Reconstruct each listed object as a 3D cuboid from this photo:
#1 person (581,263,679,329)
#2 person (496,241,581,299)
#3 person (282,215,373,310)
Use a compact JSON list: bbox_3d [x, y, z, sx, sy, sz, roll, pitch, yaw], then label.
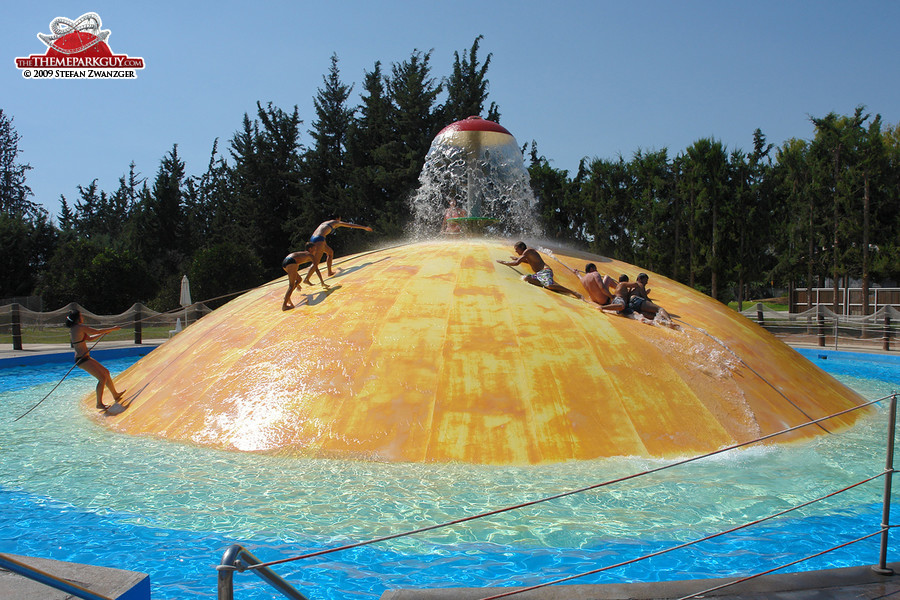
[{"bbox_3d":[2.993,0.131,9.722,1.422,0.939,0.578,0,2,0],"label":"person"},{"bbox_3d":[1.518,-0.361,10.101,1.605,0.932,0.679,25,32,33],"label":"person"},{"bbox_3d":[-2.673,-0.606,10.833,0.934,1.835,2.146,0,1,-10],"label":"person"}]
